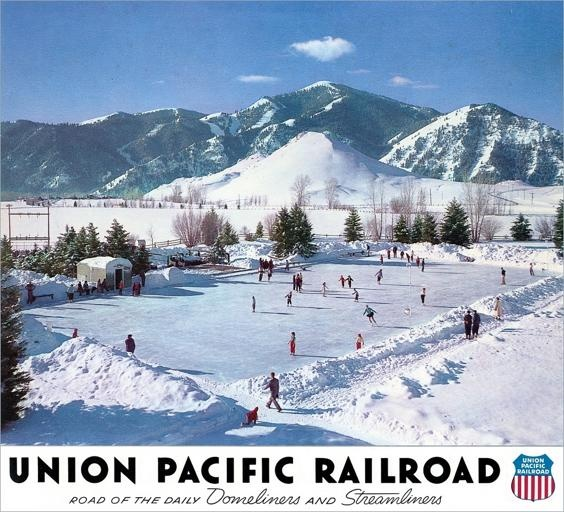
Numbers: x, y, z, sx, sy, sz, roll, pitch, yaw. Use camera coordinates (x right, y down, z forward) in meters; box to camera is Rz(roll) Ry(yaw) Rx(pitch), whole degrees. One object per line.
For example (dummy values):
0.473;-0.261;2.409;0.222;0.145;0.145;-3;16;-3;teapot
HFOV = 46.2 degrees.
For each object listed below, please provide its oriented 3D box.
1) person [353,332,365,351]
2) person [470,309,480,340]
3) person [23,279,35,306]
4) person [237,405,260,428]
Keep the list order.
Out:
3.240;3.639;27.908;0.558;1.211;0.318;-2;-11;20;person
8.527;2.963;29.128;0.324;1.290;1.102;3;11;16;person
-14.151;2.093;37.002;0.539;1.182;0.689;-4;11;-23;person
-1.027;5.004;20.528;0.293;0.407;0.783;5;29;32;person
